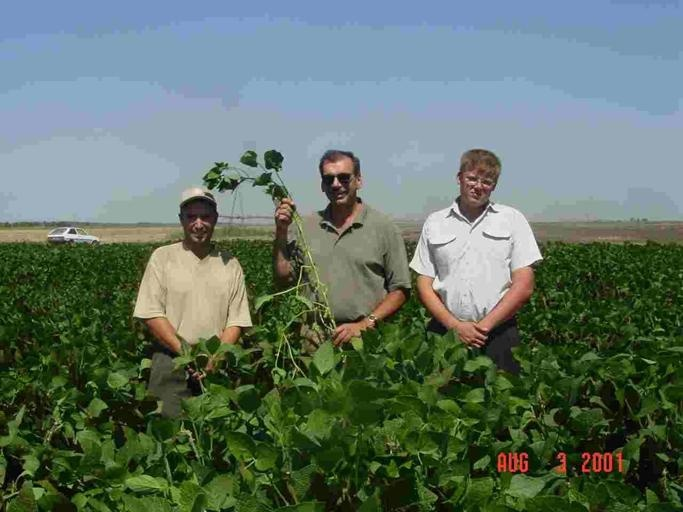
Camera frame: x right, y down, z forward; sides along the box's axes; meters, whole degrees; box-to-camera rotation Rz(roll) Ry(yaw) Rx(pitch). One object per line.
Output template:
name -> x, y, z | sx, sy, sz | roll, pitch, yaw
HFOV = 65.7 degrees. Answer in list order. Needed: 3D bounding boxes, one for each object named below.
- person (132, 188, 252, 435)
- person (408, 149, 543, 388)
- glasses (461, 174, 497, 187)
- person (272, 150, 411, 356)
person -> -1.215, 0.350, 4.304 | 0.928, 1.788, 0.847 | -1, 9, -12
person -> 1.130, 0.034, 4.464 | 1.041, 1.830, 0.754 | 5, 10, 20
glasses -> 1.167, -0.627, 4.454 | 0.190, 0.059, 0.146 | 11, -1, 11
person -> 0.006, -0.152, 4.605 | 1.107, 1.498, 0.788 | 5, 10, 23
